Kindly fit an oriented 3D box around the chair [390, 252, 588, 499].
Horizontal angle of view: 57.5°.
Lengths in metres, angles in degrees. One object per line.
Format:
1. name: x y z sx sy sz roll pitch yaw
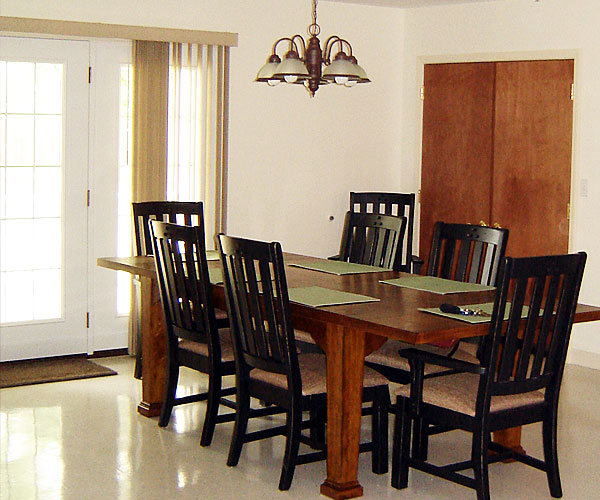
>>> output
1. chair: 0.765 0.519 2.200 0.717 1.055 0.549 0 5 -15
